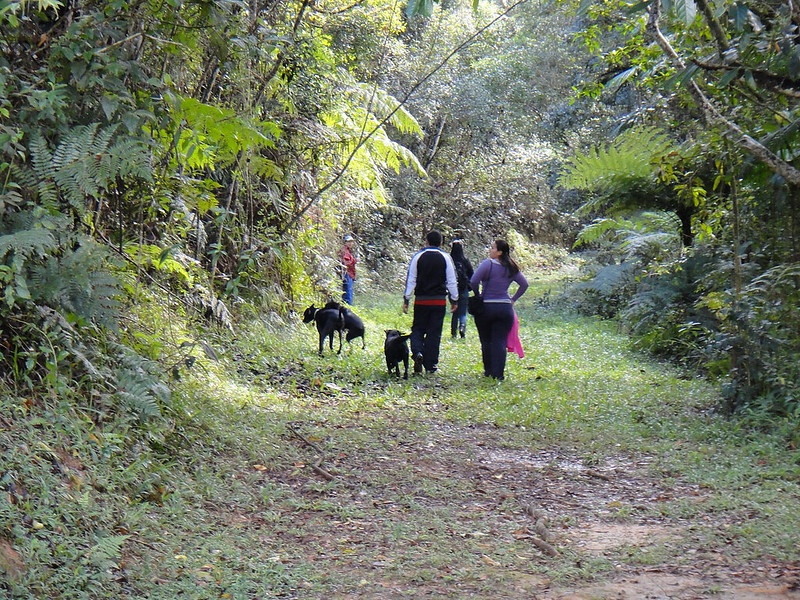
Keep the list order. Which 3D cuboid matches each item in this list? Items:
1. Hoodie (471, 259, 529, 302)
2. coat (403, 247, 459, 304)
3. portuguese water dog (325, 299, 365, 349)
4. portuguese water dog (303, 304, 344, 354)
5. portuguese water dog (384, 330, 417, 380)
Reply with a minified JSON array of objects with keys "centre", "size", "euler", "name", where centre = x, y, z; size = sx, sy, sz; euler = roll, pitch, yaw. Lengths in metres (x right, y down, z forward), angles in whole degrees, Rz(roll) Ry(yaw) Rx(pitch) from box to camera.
[{"centre":[1.448,-0.275,11.072],"size":[0.970,0.686,0.404],"euler":[7,-7,-14],"name":"Hoodie"},{"centre":[0.474,-0.396,11.278],"size":[0.876,0.822,0.539],"euler":[1,7,-9],"name":"coat"},{"centre":[-0.955,0.446,12.061],"size":[0.976,0.574,0.301],"euler":[18,7,24],"name":"portuguese water dog"},{"centre":[-1.177,0.469,11.625],"size":[0.601,0.787,0.680],"euler":[-1,8,-27],"name":"portuguese water dog"},{"centre":[-0.041,0.796,10.998],"size":[0.344,0.706,0.546],"euler":[3,7,2],"name":"portuguese water dog"}]
